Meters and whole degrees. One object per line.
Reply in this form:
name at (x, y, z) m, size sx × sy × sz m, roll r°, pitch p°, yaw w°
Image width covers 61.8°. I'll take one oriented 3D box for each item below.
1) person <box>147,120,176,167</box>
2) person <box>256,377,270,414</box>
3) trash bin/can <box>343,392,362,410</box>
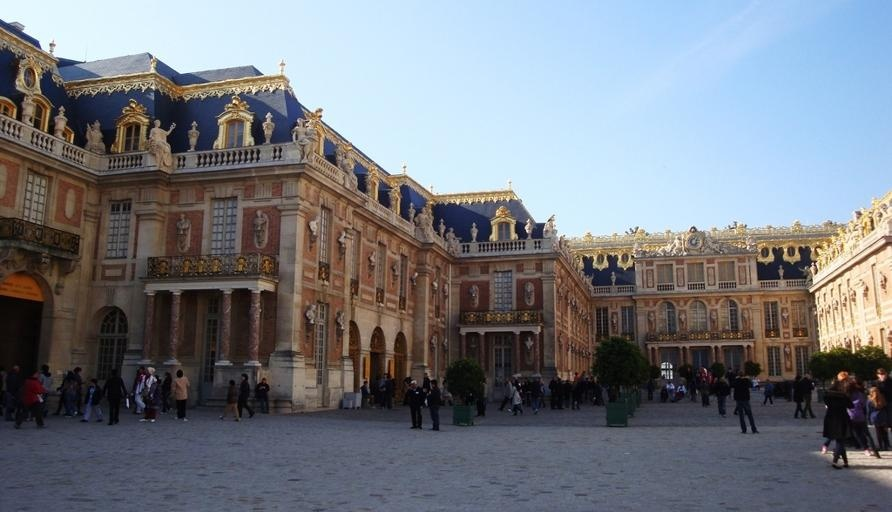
person at (-14.093, -5.482, 36.957) m, size 0.582 × 2.496 × 1.094 m, roll -14°, pitch -20°, yaw 35°
person at (-8.336, 6.270, 33.896) m, size 0.625 × 1.597 × 0.985 m, roll 2°, pitch -16°, yaw -14°
trash bin/can at (-4.964, 7.533, 39.086) m, size 0.794 × 0.945 × 1.418 m, roll 1°, pitch -4°, yaw 14°
